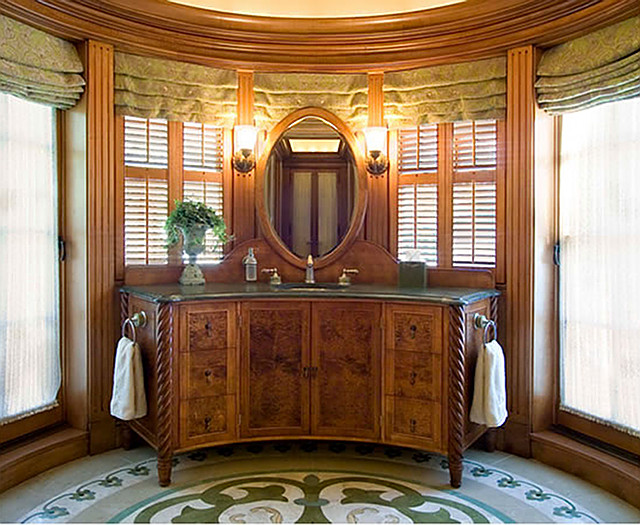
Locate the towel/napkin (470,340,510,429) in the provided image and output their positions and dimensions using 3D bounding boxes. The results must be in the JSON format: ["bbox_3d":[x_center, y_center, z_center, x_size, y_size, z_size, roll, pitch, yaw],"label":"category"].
[{"bbox_3d":[1.046,0.789,3.218,0.195,0.633,0.402,3,7,21],"label":"towel/napkin"}]

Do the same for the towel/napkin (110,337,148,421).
[{"bbox_3d":[-1.177,0.690,3.184,0.182,0.442,0.298,-4,8,-34],"label":"towel/napkin"}]

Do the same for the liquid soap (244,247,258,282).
[{"bbox_3d":[-0.517,0.013,3.889,0.103,0.249,0.094,-1,6,-8],"label":"liquid soap"}]

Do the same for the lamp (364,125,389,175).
[{"bbox_3d":[0.412,-0.811,3.831,0.189,0.346,0.179,1,6,4],"label":"lamp"}]

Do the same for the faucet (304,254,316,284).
[{"bbox_3d":[-0.074,0.044,3.860,0.071,0.203,0.136,0,6,0],"label":"faucet"}]

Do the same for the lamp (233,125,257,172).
[{"bbox_3d":[-0.552,-0.828,3.845,0.188,0.347,0.181,-1,6,-9],"label":"lamp"}]
